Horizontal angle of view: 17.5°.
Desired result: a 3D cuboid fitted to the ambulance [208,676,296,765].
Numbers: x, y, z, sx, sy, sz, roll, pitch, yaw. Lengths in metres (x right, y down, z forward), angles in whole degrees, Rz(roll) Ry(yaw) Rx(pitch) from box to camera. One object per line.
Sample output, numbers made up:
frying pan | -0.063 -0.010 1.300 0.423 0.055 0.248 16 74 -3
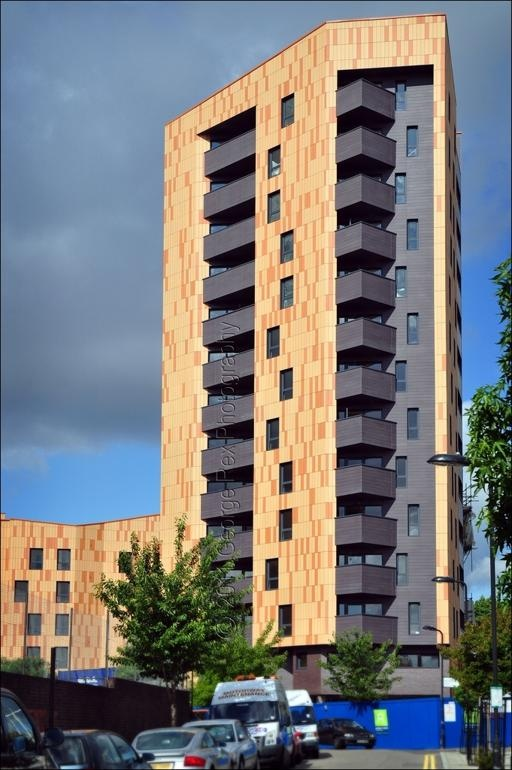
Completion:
ambulance | -0.026 8.086 41.001 1.793 2.303 2.104 0 -17 0
